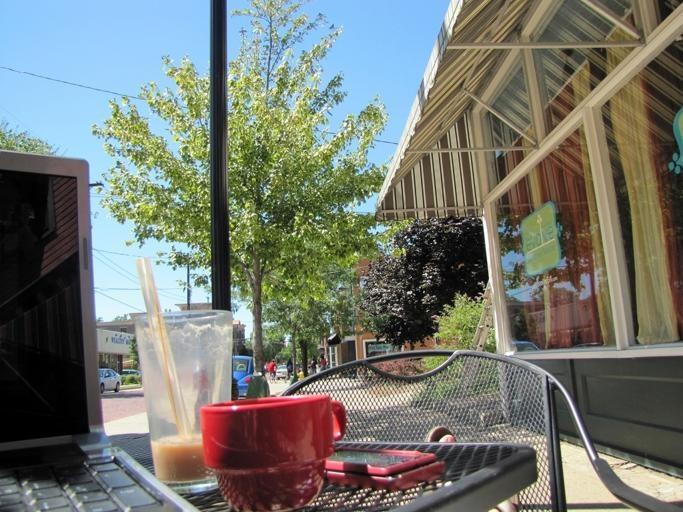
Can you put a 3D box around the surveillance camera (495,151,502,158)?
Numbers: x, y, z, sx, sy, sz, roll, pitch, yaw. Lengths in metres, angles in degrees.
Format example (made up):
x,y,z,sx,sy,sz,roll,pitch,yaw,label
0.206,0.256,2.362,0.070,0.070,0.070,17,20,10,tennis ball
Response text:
x,y,z,sx,sy,sz,roll,pitch,yaw,label
2.293,-1.486,7.406,0.017,0.075,0.076,0,-1,-19,surveillance camera
